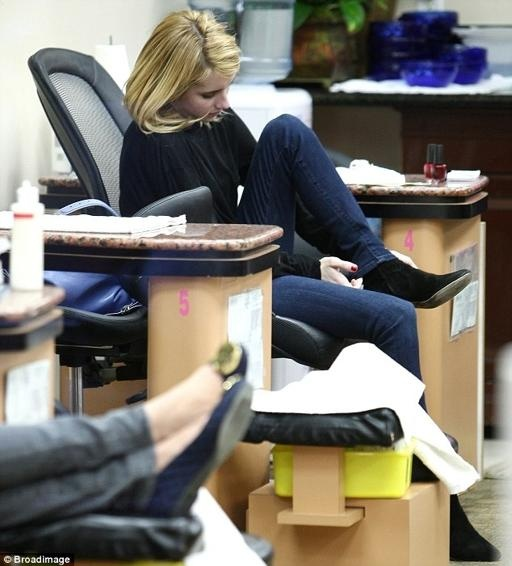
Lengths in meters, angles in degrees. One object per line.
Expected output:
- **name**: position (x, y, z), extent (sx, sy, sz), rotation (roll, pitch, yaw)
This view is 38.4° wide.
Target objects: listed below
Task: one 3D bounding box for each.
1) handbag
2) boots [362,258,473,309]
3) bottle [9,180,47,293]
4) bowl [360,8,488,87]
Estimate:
- **handbag**: position (-0.328, 0.022, 1.490), extent (0.133, 0.040, 0.110), rotation (10, 2, -22)
- **boots**: position (0.372, -0.026, 1.771), extent (0.298, 0.086, 0.123), rotation (-3, -31, -7)
- **bottle**: position (-0.273, -0.052, 0.866), extent (0.041, 0.120, 0.066), rotation (-5, 7, -14)
- **bowl**: position (0.723, -0.987, 3.195), extent (0.493, 0.203, 0.325), rotation (3, 8, 32)
